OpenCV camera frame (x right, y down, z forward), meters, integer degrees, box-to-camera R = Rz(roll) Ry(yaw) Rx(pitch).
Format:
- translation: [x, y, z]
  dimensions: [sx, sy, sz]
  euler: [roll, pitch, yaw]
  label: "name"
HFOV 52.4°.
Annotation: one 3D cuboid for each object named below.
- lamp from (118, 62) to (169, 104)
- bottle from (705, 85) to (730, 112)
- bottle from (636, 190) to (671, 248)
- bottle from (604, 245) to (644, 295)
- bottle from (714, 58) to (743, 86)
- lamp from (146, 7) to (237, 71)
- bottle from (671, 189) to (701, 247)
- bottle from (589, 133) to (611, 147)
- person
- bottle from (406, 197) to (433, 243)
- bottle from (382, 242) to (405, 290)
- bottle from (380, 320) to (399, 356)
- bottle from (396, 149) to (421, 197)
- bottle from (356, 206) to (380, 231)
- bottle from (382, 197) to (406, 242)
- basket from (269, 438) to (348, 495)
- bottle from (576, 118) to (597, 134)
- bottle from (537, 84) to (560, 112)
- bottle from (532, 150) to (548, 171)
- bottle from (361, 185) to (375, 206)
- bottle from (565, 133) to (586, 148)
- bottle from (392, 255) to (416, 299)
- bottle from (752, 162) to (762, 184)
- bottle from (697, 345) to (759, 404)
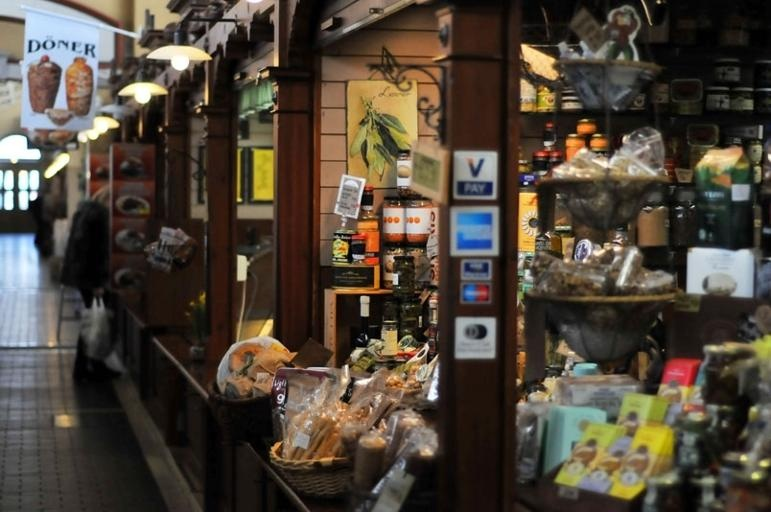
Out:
- translation: [-2.330, -1.608, 7.509]
  dimensions: [0.432, 0.381, 0.449]
  euler: [3, 5, 35]
  label: "lamp"
- translation: [1.543, -0.715, 3.645]
  dimensions: [0.107, 0.110, 0.114]
  euler: [2, -7, 3]
  label: "bottle"
- translation: [1.048, -0.137, 3.023]
  dimensions: [0.125, 0.210, 0.089]
  euler: [2, 4, 9]
  label: "bottle"
- translation: [0.883, 0.057, 2.863]
  dimensions: [0.156, 0.164, 0.074]
  euler: [-2, 5, -39]
  label: "bottle"
- translation: [1.587, -0.842, 3.601]
  dimensions: [0.110, 0.103, 0.113]
  euler: [0, 2, 14]
  label: "bottle"
- translation: [-1.597, -1.621, 6.048]
  dimensions: [0.510, 0.372, 0.527]
  euler: [6, 11, 40]
  label: "lamp"
- translation: [1.139, -0.146, 2.978]
  dimensions: [0.066, 0.231, 0.136]
  euler: [2, 4, 3]
  label: "bottle"
- translation: [0.875, -0.462, 3.183]
  dimensions: [0.054, 0.051, 0.055]
  euler: [1, 0, 40]
  label: "bottle"
- translation: [-3.637, 0.418, 9.597]
  dimensions: [0.601, 2.242, 0.802]
  euler: [1, 4, -8]
  label: "person"
- translation: [0.221, -0.229, 5.092]
  dimensions: [0.186, 0.280, 0.183]
  euler: [-1, 7, 0]
  label: "bottle"
- translation: [0.032, 0.072, 5.045]
  dimensions: [0.226, 0.377, 0.231]
  euler: [1, -3, 0]
  label: "bottle"
- translation: [0.032, 0.471, 4.538]
  dimensions: [0.091, 0.199, 0.177]
  euler: [2, 4, 6]
  label: "bottle"
- translation: [0.175, -0.541, 5.161]
  dimensions: [0.238, 0.284, 0.240]
  euler: [-2, 4, -20]
  label: "bottle"
- translation: [-0.110, -0.239, 5.132]
  dimensions: [0.126, 0.163, 0.128]
  euler: [2, 4, 0]
  label: "bottle"
- translation: [0.046, -0.220, 5.131]
  dimensions: [0.162, 0.275, 0.163]
  euler: [0, -1, 0]
  label: "bottle"
- translation: [-0.310, 0.936, 3.421]
  dimensions: [0.241, 0.114, 0.245]
  euler: [-1, -1, -10]
  label: "basket"
- translation: [0.858, -0.543, 3.312]
  dimensions: [0.056, 0.051, 0.058]
  euler: [-1, -2, 36]
  label: "bottle"
- translation: [0.718, -0.693, 3.448]
  dimensions: [0.094, 0.106, 0.096]
  euler: [2, 0, -2]
  label: "bottle"
- translation: [0.738, -0.442, 3.679]
  dimensions: [0.087, 0.098, 0.089]
  euler: [1, -5, 0]
  label: "bottle"
- translation: [-0.119, -0.399, 5.210]
  dimensions: [0.074, 0.136, 0.072]
  euler: [2, 4, 0]
  label: "bottle"
- translation: [0.848, -0.505, 3.453]
  dimensions: [0.025, 0.060, 0.117]
  euler: [-2, 6, -41]
  label: "bottle"
- translation: [0.123, 0.136, 4.909]
  dimensions: [0.142, 0.279, 0.106]
  euler: [2, 4, 1]
  label: "bottle"
- translation: [1.363, -0.293, 2.840]
  dimensions: [0.026, 0.068, 0.100]
  euler: [4, 5, 34]
  label: "bottle"
- translation: [1.186, 0.422, 2.839]
  dimensions: [0.167, 0.251, 0.210]
  euler: [5, -10, -12]
  label: "bottle"
